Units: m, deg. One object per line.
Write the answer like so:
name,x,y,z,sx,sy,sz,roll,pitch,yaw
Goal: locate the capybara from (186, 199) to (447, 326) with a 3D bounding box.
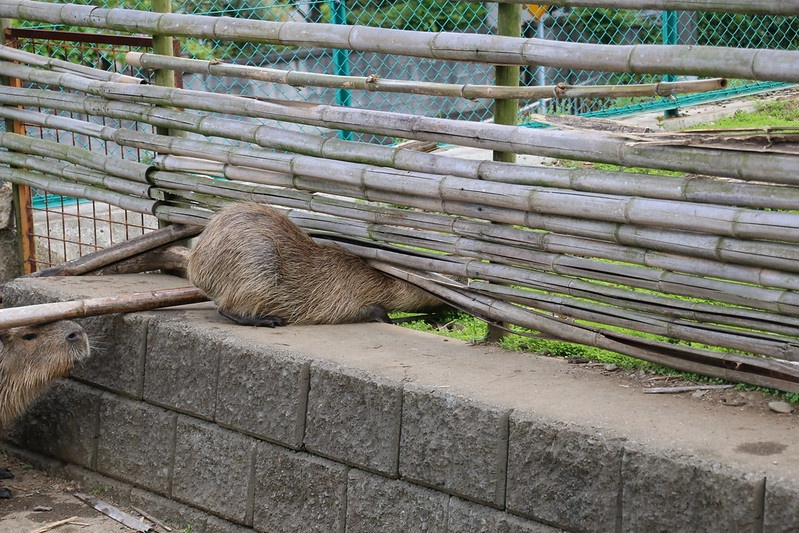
capybara,-0.528,0.094,6.111,1.868,0.534,0.649,11,4,-35
